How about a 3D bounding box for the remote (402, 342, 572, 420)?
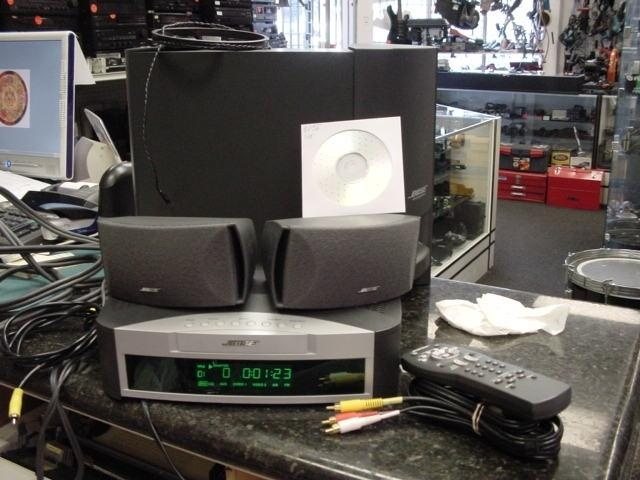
[{"bbox_3d":[0.212,0.143,0.672,0.087,0.036,0.180,-12,20,-40],"label":"remote"}]
